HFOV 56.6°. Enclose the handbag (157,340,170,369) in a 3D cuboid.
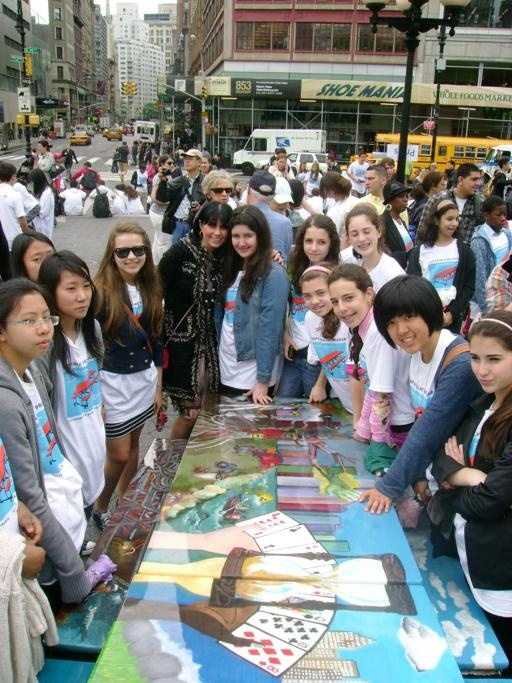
[{"bbox_3d":[-0.716,0.110,3.640,0.047,0.160,0.118,-6,9,5],"label":"handbag"}]
